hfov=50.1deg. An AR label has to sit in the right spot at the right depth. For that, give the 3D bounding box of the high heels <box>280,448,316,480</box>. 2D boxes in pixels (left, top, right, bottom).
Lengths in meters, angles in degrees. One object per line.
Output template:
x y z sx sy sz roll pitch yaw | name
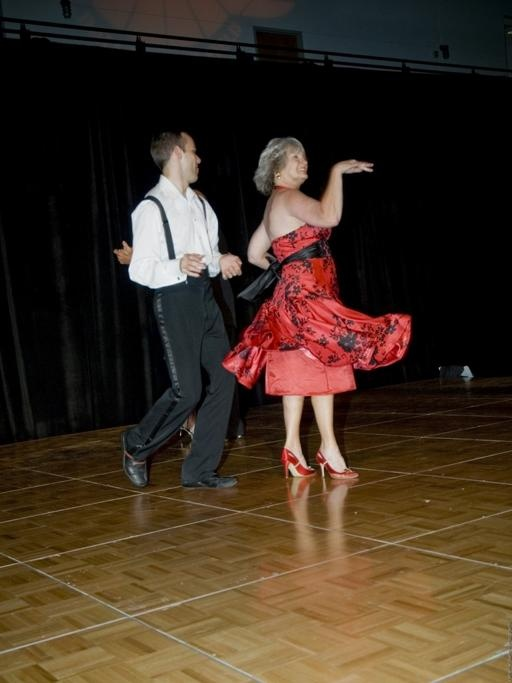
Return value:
0.220 0.566 2.519 0.221 0.142 0.083 4 1 -39 | high heels

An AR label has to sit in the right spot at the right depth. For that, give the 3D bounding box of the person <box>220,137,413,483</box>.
0.261 -0.184 2.462 0.796 1.250 0.476 -8 -3 35 | person

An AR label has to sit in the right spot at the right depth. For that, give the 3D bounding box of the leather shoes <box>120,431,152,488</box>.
-0.551 0.549 2.559 0.110 0.253 0.107 -21 -4 43 | leather shoes

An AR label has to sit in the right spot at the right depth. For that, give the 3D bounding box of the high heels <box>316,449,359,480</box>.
0.352 0.556 2.483 0.242 0.111 0.085 0 -1 39 | high heels

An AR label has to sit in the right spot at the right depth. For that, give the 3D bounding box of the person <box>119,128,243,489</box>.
-0.357 -0.132 2.361 0.495 1.082 0.457 -6 -3 -9 | person
